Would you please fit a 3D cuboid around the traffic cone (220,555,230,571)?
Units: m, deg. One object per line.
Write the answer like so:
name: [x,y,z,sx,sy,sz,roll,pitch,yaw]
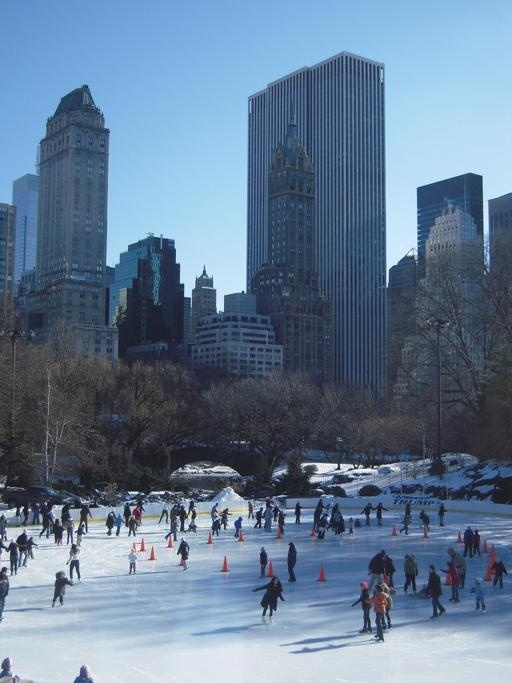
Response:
traffic cone: [-1.062,7.563,39.423,0.321,0.811,0.403,-1,0,2]
